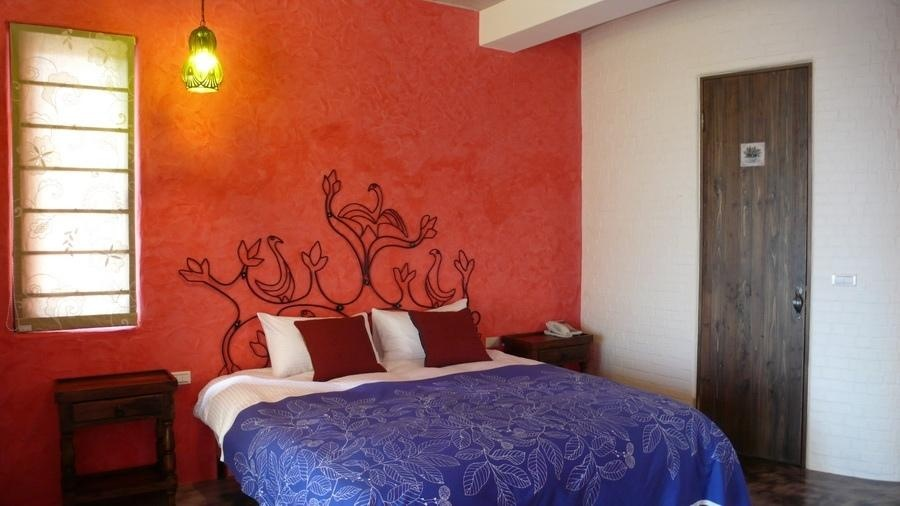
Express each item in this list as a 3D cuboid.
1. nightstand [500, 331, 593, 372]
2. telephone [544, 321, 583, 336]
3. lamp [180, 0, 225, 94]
[{"bbox_3d":[1.120,0.969,6.943,0.918,0.616,0.529,-3,4,-37],"label":"nightstand"},{"bbox_3d":[1.371,0.913,7.066,0.246,0.106,0.249,2,1,44],"label":"telephone"},{"bbox_3d":[-2.337,-1.936,5.450,0.323,0.903,0.455,-5,1,-23],"label":"lamp"}]
